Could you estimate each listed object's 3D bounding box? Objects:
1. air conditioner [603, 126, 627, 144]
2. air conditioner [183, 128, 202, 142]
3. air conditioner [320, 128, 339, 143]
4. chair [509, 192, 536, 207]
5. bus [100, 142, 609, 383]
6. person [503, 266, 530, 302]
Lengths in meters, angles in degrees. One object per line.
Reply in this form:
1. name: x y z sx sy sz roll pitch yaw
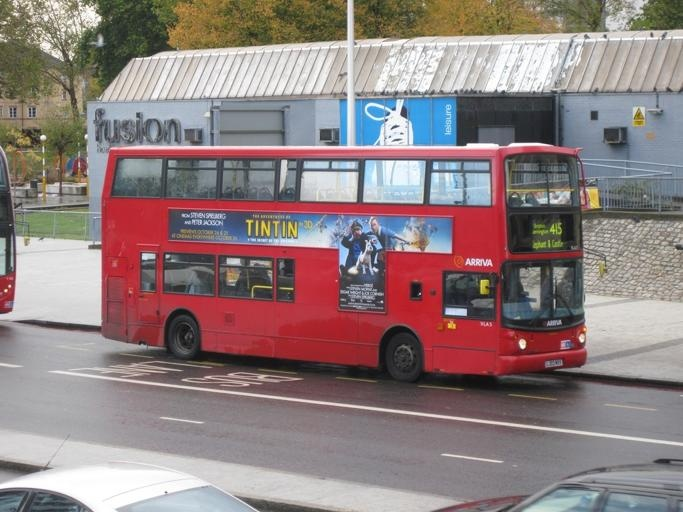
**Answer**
1. air conditioner: 9.999 -4.339 45.035 0.911 0.735 0.519 2 2 42
2. air conditioner: -6.343 -5.163 52.572 0.775 0.785 0.513 3 9 17
3. air conditioner: -0.500 -4.776 48.968 0.552 0.412 0.600 1 3 17
4. chair: 4.058 -1.251 27.869 0.514 0.295 0.306 3 -3 -26
5. bus: 0.034 0.018 31.943 13.246 6.543 5.014 1 3 31
6. person: 3.990 0.504 28.095 0.539 0.983 0.635 -2 26 5
